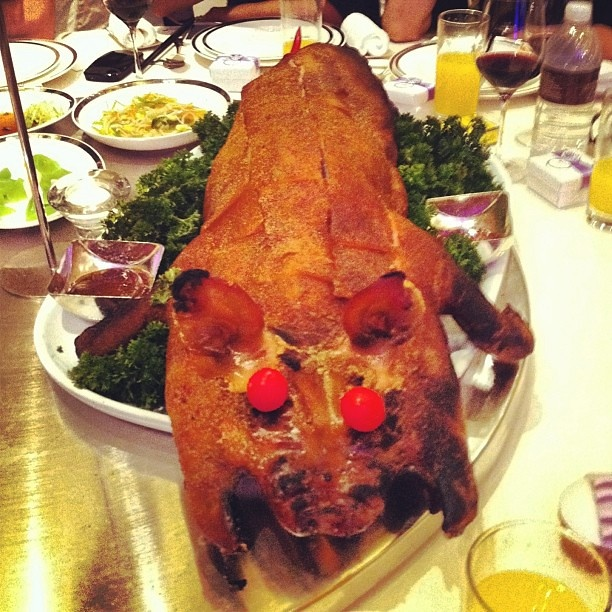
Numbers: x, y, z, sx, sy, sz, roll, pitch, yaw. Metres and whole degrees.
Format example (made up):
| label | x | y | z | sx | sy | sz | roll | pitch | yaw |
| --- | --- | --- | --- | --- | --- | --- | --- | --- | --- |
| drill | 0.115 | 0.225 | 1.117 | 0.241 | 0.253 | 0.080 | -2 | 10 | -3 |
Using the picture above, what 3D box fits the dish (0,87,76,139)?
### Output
| label | x | y | z | sx | sy | sz | roll | pitch | yaw |
| --- | --- | --- | --- | --- | --- | --- | --- | --- | --- |
| dish | -0.609 | -0.444 | 1.393 | 0.177 | 0.044 | 0.178 | 4 | 41 | -3 |
